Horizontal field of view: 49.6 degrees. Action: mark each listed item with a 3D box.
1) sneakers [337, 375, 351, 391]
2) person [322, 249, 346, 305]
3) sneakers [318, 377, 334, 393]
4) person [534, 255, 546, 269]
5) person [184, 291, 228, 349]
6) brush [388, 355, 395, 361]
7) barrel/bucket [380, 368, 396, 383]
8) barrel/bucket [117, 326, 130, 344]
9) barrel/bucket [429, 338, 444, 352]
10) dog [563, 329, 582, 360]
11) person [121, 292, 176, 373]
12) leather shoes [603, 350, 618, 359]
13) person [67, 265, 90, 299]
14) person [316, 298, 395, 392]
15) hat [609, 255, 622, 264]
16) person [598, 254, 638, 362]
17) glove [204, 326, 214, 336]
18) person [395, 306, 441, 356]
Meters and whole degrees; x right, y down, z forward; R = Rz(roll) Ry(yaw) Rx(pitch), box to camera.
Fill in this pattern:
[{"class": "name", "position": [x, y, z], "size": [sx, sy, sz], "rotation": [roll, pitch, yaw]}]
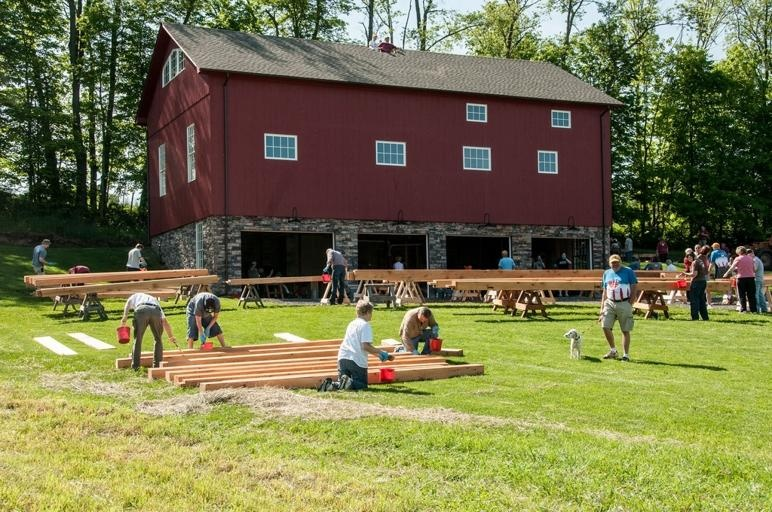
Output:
[{"class": "sneakers", "position": [-0.955, 2.807, 18.516], "size": [0.179, 0.459, 0.145], "rotation": [2, -4, 41]}, {"class": "person", "position": [-1.789, 0.750, 28.879], "size": [0.738, 1.871, 1.038], "rotation": [2, -2, -5]}, {"class": "sneakers", "position": [-1.345, 2.913, 18.468], "size": [0.176, 0.489, 0.203], "rotation": [26, 2, -1]}, {"class": "person", "position": [6.951, 0.306, 38.057], "size": [0.534, 0.614, 1.485], "rotation": [1, -1, 5]}, {"class": "person", "position": [-4.587, 1.645, 21.092], "size": [0.889, 1.410, 1.695], "rotation": [2, -2, -14]}, {"class": "brush", "position": [0.095, 2.304, 18.937], "size": [0.118, 0.160, 0.137], "rotation": [-2, -8, -10]}, {"class": "barrel/bucket", "position": [0.027, 2.743, 19.085], "size": [0.290, 0.218, 0.303], "rotation": [-2, -6, 0]}, {"class": "barrel/bucket", "position": [-6.084, 1.827, 19.312], "size": [0.246, 0.410, 0.418], "rotation": [3, -2, -22]}, {"class": "barrel/bucket", "position": [1.218, 2.249, 20.945], "size": [0.272, 0.313, 0.325], "rotation": [5, -8, -43]}, {"class": "dog", "position": [4.792, 2.244, 21.488], "size": [0.377, 0.736, 1.677], "rotation": [1, -2, 13]}, {"class": "person", "position": [-5.925, 1.970, 20.667], "size": [1.462, 1.093, 2.682], "rotation": [3, 30, -23]}, {"class": "leather shoes", "position": [5.519, 2.464, 20.917], "size": [0.467, 0.247, 0.163], "rotation": [1, -4, -11]}, {"class": "person", "position": [-9.961, 0.884, 26.992], "size": [0.560, 0.807, 0.755], "rotation": [-26, -30, 39]}, {"class": "person", "position": [-0.725, 1.996, 18.599], "size": [1.267, 1.994, 0.428], "rotation": [2, -2, -3]}, {"class": "hat", "position": [5.647, 0.086, 20.747], "size": [0.347, 0.315, 0.573], "rotation": [-4, -6, 15]}, {"class": "person", "position": [5.797, 1.285, 21.040], "size": [0.824, 2.613, 1.382], "rotation": [1, -2, 17]}, {"class": "glove", "position": [-4.537, 1.924, 21.197], "size": [0.069, 0.236, 0.158], "rotation": [5, 6, 40]}, {"class": "person", "position": [0.839, 1.966, 21.217], "size": [0.920, 1.965, 1.003], "rotation": [6, 37, 3]}]
